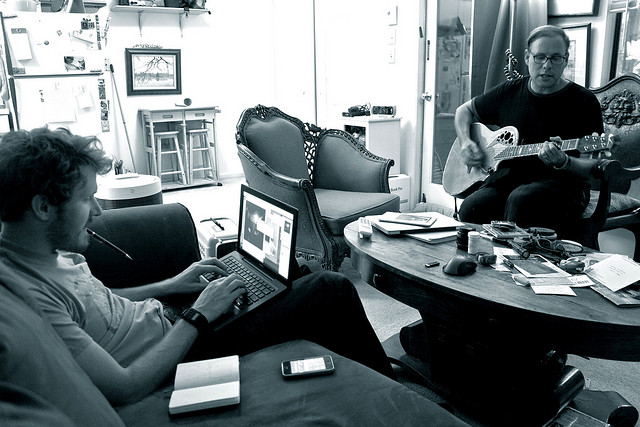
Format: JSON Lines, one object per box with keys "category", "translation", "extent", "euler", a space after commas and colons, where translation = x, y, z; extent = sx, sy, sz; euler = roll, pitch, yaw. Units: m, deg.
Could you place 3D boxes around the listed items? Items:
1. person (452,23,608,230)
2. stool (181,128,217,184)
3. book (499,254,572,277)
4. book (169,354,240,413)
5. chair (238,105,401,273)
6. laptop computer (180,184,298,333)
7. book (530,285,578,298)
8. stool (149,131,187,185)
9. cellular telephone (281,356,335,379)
{"category": "person", "translation": [1.253, -0.524, 3.033], "extent": [0.879, 1.181, 0.615], "euler": [5, 16, 28]}
{"category": "stool", "translation": [-1.531, -0.747, 6.132], "extent": [0.420, 0.619, 0.409], "euler": [-13, 19, -43]}
{"category": "book", "translation": [0.902, 0.217, 2.068], "extent": [0.190, 0.032, 0.240], "euler": [-5, 14, -11]}
{"category": "book", "translation": [-0.374, 0.550, 1.606], "extent": [0.153, 0.034, 0.143], "euler": [-5, 28, -11]}
{"category": "chair", "translation": [-0.016, -0.163, 3.483], "extent": [0.952, 1.099, 1.035], "euler": [-17, 23, -38]}
{"category": "laptop computer", "translation": [-0.387, 0.147, 2.088], "extent": [0.470, 0.335, 0.524], "euler": [-14, 25, -22]}
{"category": "book", "translation": [0.893, 0.296, 1.890], "extent": [0.153, 0.021, 0.079], "euler": [-1, 14, 7]}
{"category": "stool", "translation": [-1.860, -0.662, 5.939], "extent": [0.419, 0.642, 0.423], "euler": [-15, 18, -40]}
{"category": "cellular telephone", "translation": [-0.046, 0.522, 1.683], "extent": [0.139, 0.021, 0.070], "euler": [-3, 21, -7]}
